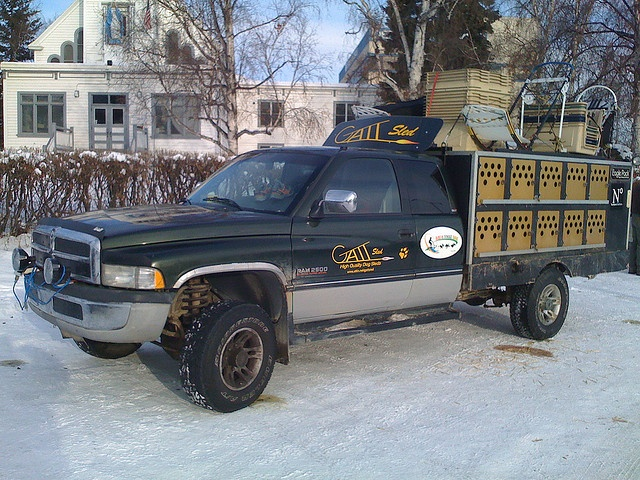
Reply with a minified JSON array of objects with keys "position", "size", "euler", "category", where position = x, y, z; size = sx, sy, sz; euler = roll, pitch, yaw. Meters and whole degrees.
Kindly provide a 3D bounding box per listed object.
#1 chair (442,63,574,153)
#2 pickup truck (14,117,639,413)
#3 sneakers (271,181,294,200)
[{"position":[2.828,-1.991,8.699],"size":[1.970,1.394,0.779],"euler":[-3,12,-40],"category":"chair"},{"position":[0.454,0.115,8.308],"size":[8.058,3.029,3.008],"euler":[-1,3,-32],"category":"pickup truck"},{"position":[-0.423,-0.523,6.574],"size":[0.118,0.133,0.304],"euler":[6,19,26],"category":"sneakers"}]
